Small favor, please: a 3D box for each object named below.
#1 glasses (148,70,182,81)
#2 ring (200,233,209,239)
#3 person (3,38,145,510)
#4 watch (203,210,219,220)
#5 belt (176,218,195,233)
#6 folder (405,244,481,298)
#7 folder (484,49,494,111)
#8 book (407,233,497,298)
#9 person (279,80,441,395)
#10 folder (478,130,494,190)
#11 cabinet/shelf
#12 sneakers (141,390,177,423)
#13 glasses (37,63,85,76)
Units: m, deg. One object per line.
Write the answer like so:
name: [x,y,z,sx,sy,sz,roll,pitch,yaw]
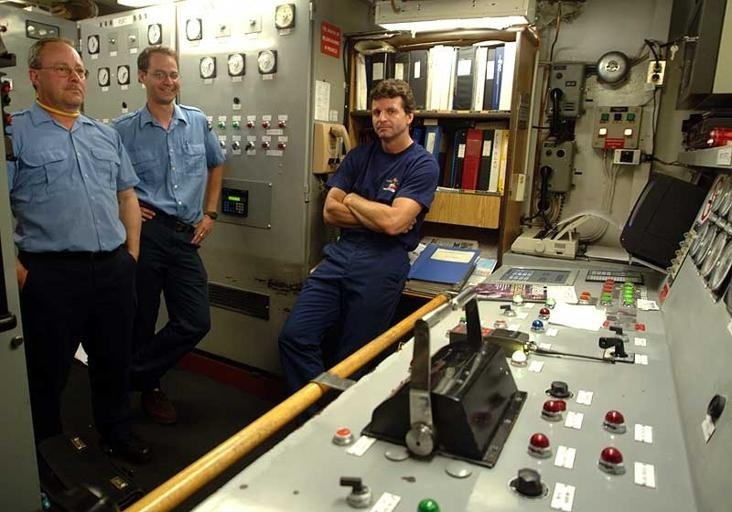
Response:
glasses: [-1.262,-1.131,2.984,0.178,0.068,0.085,-9,23,-29]
ring: [-1.116,-0.134,3.302,0.043,0.011,0.044,-7,15,2]
person: [-1.539,0.056,2.509,0.628,2.220,0.478,-15,25,-40]
watch: [-1.097,-0.291,3.380,0.064,0.074,0.069,-18,-22,20]
belt: [-1.178,-0.196,3.116,0.080,0.030,0.061,24,28,33]
folder: [0.538,0.094,3.383,0.445,0.100,0.448,13,46,42]
folder: [0.839,-1.193,3.323,0.071,0.320,0.291,3,12,9]
book: [0.523,0.109,3.354,0.429,0.167,0.495,6,38,33]
person: [-0.102,-0.058,2.909,1.043,1.408,0.573,-16,26,-42]
folder: [0.845,-0.675,3.384,0.081,0.403,0.104,6,19,14]
cabinet/shelf: [0.511,-0.866,3.274,1.441,1.853,0.591,4,8,19]
sneakers: [-1.408,0.981,3.286,0.333,0.151,0.133,17,18,39]
glasses: [-1.513,-0.927,2.387,0.224,0.068,0.124,-13,25,-36]
